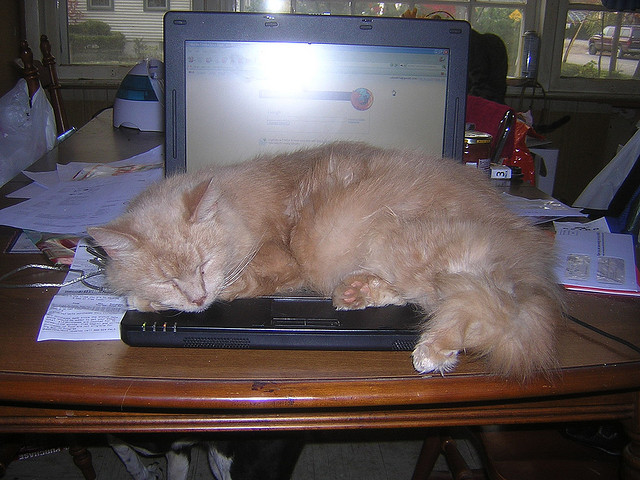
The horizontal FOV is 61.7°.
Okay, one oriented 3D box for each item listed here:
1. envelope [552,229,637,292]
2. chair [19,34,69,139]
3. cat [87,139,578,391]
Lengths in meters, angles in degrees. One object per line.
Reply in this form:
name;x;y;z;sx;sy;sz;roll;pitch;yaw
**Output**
envelope;0.668;0.052;1.312;0.161;0.019;0.174;3;40;14
chair;-1.387;-0.755;2.795;0.211;0.641;0.176;-3;41;-16
cat;0.052;-0.013;1.293;1.109;0.297;0.592;10;27;15
